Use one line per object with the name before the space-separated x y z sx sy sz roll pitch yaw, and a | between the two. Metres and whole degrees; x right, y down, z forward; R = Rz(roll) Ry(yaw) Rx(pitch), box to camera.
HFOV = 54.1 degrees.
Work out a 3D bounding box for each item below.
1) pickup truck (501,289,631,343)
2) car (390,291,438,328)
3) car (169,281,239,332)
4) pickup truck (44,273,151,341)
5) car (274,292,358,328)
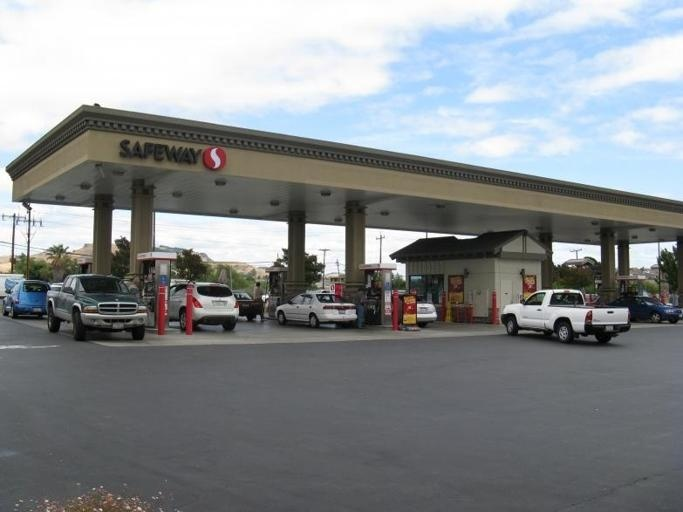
pickup truck | 7.740 2.115 23.595 1.822 1.524 4.113 4 -1 -24
car | 3.121 2.363 29.412 1.161 1.103 2.490 0 -1 -8
car | -5.487 1.814 25.562 1.415 1.222 2.941 2 0 -34
pickup truck | -7.709 1.572 20.789 1.645 1.352 3.638 4 -7 -29
car | -1.115 2.406 29.726 1.953 1.617 4.841 1 0 -36
